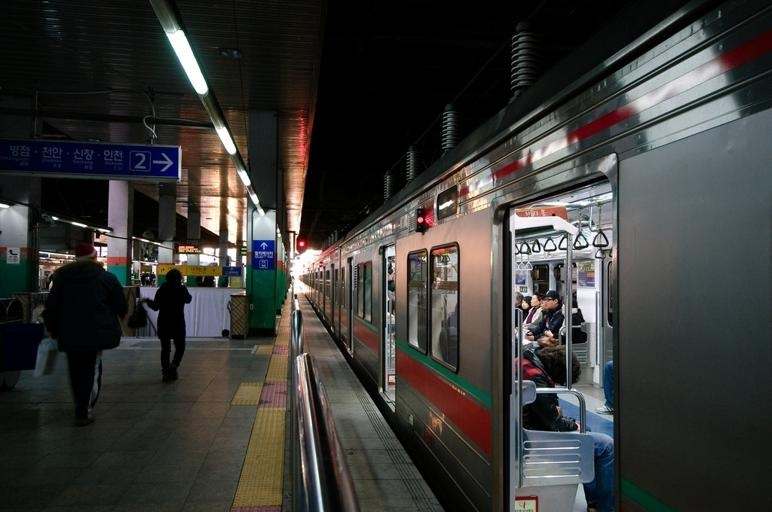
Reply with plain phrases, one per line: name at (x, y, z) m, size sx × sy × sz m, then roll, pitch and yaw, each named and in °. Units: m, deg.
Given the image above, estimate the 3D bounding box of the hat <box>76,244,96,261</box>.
hat at (-3.441, -0.072, 6.330) m, size 0.162 × 0.140 × 0.218 m, roll 10°, pitch 16°, yaw -15°

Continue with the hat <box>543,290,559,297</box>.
hat at (2.531, 0.558, 8.377) m, size 0.157 × 0.095 × 0.161 m, roll 6°, pitch 2°, yaw 17°

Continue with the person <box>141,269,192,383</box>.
person at (-3.359, 1.056, 8.544) m, size 0.575 × 1.742 × 0.728 m, roll 1°, pitch 1°, yaw -20°

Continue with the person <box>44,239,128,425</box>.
person at (-3.426, 0.882, 6.278) m, size 0.813 × 2.061 × 0.539 m, roll 1°, pitch 1°, yaw -33°

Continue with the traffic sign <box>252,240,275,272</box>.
traffic sign at (-3.148, -0.002, 14.066) m, size 0.762 × 1.025 × 0.110 m, roll 2°, pitch -8°, yaw -3°

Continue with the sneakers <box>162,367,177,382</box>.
sneakers at (-3.331, 1.839, 8.579) m, size 0.239 × 0.238 × 0.146 m, roll -1°, pitch -2°, yaw 7°
